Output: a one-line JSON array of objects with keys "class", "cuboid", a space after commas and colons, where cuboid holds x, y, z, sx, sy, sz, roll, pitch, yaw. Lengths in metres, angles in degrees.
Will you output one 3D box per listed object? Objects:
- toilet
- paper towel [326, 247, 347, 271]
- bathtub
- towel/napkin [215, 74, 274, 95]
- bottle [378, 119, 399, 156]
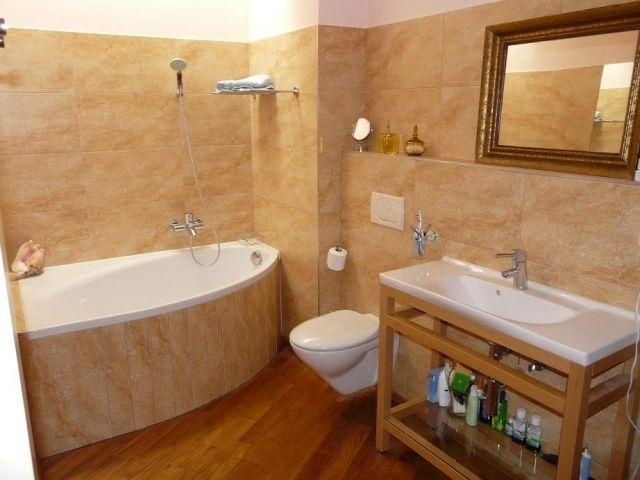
[{"class": "toilet", "cuboid": [0.155, 0.769, 3.000, 0.596, 0.414, 0.459, -14, 22, -34]}, {"class": "paper towel", "cuboid": [0.113, 0.132, 3.366, 0.157, 0.162, 0.153, 5, 6, 16]}, {"class": "bathtub", "cuboid": [-1.281, 0.317, 3.458, 1.514, 0.314, 0.668, -7, 16, -40]}, {"class": "towel/napkin", "cuboid": [-0.540, -1.092, 3.338, 0.314, 0.097, 0.220, -5, 8, -35]}, {"class": "bottle", "cuboid": [0.447, -0.684, 3.121, 0.106, 0.213, 0.179, -9, 18, -25]}]
